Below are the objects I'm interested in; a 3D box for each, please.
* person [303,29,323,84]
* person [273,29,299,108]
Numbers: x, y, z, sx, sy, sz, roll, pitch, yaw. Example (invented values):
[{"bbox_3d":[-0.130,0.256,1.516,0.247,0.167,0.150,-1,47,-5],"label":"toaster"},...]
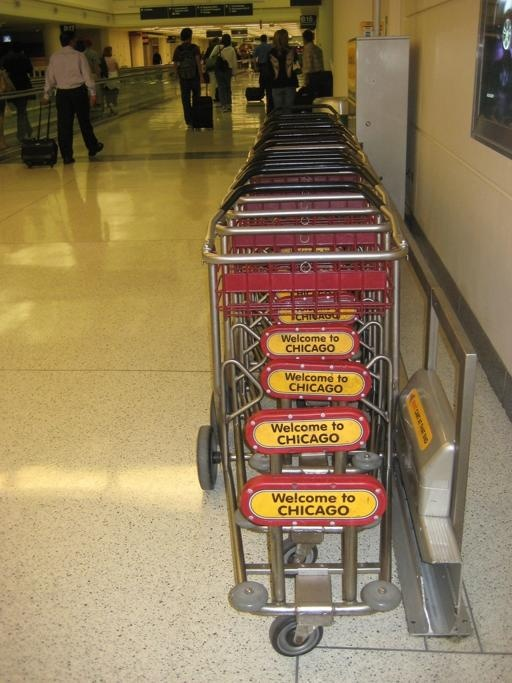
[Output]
[{"bbox_3d":[1.027,-5.388,9.956,0.373,1.019,0.966,-2,15,6],"label":"person"},{"bbox_3d":[0.533,-5.383,10.558,0.515,1.289,1.278,-3,15,3],"label":"person"}]
